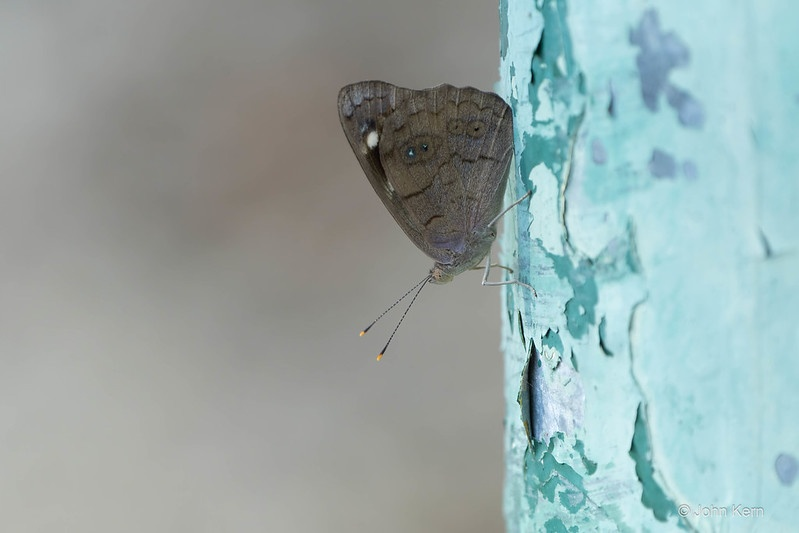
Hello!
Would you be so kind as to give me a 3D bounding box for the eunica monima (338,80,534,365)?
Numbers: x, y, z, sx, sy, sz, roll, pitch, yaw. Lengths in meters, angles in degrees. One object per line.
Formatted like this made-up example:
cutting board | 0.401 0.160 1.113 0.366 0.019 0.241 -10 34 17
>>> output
eunica monima | 0.024 -0.079 1.086 0.182 0.162 0.242 0 -75 -1
